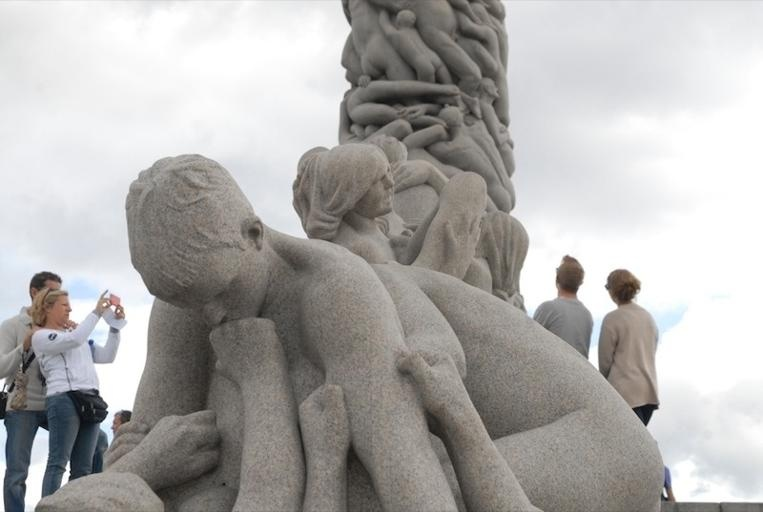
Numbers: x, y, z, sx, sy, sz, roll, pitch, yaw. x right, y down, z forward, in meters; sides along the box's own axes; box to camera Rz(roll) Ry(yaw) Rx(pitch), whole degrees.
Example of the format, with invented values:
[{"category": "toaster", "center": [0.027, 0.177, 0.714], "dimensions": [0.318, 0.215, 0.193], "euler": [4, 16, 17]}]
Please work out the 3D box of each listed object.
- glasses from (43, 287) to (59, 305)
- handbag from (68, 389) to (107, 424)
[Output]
[{"category": "glasses", "center": [-2.339, 0.278, 6.121], "dimensions": [0.092, 0.109, 0.080], "euler": [14, 5, -1]}, {"category": "handbag", "center": [-2.009, 1.042, 5.989], "dimensions": [0.249, 0.251, 0.190], "euler": [-4, -22, -1]}]
